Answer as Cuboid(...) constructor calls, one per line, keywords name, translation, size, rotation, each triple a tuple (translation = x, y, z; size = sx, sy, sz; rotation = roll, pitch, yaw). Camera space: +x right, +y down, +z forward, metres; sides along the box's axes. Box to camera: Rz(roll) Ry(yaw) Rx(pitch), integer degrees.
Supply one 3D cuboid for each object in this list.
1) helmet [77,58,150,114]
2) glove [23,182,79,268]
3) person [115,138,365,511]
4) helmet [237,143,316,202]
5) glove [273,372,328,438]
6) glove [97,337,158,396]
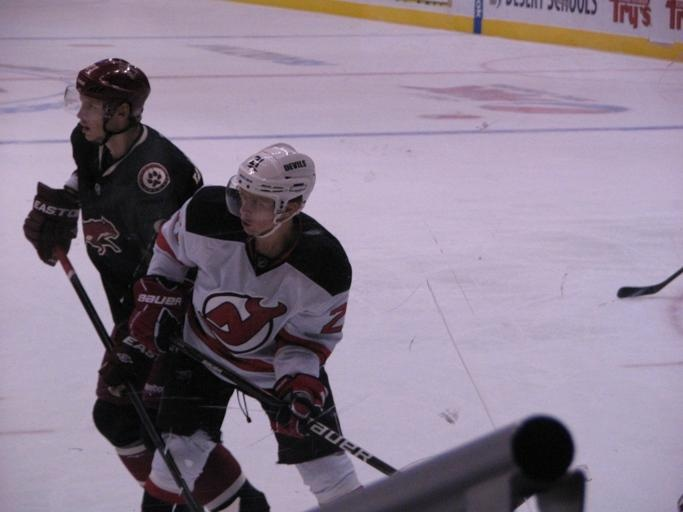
Cuboid(name="helmet", translation=(-0.919, -0.654, 3.418), size=(0.260, 0.237, 0.201), rotation=(23, 2, -25))
Cuboid(name="glove", translation=(-1.233, -0.128, 3.616), size=(0.135, 0.303, 0.297), rotation=(10, 37, -14))
Cuboid(name="person", translation=(-0.367, 0.210, 2.891), size=(0.830, 1.163, 0.665), rotation=(1, 10, -7))
Cuboid(name="helmet", translation=(-0.239, -0.289, 3.057), size=(0.253, 0.220, 0.190), rotation=(13, 13, -30))
Cuboid(name="glove", translation=(-0.139, 0.500, 2.863), size=(0.174, 0.153, 0.227), rotation=(1, 9, -4))
Cuboid(name="glove", translation=(-0.734, 0.388, 2.946), size=(0.125, 0.177, 0.164), rotation=(9, 46, 42))
